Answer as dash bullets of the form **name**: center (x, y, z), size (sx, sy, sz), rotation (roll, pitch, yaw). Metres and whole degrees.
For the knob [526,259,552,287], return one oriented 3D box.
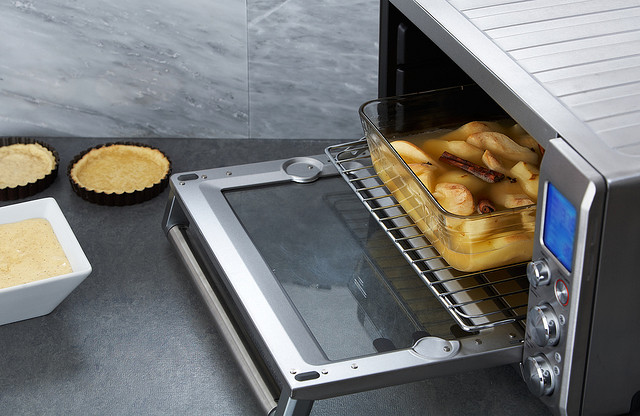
- **knob**: center (0.246, 0.075, 0.586), size (0.023, 0.031, 0.027), rotation (-5, 93, 9)

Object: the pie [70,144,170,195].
- **pie**: center (-0.409, -0.084, 1.077), size (0.196, 0.030, 0.138), rotation (0, 50, -4)
